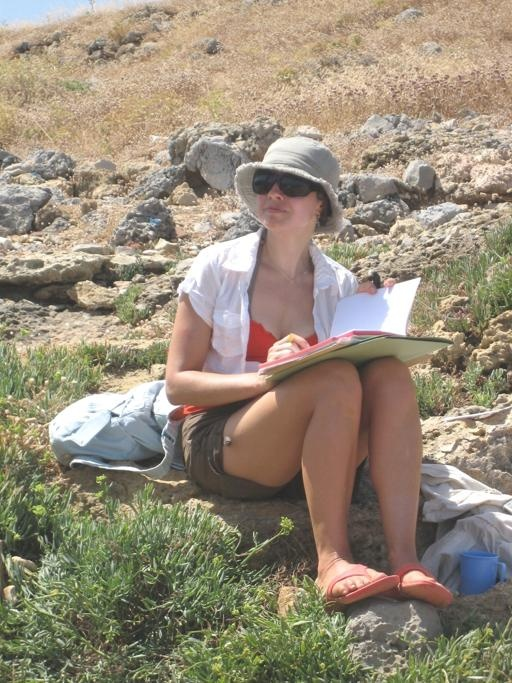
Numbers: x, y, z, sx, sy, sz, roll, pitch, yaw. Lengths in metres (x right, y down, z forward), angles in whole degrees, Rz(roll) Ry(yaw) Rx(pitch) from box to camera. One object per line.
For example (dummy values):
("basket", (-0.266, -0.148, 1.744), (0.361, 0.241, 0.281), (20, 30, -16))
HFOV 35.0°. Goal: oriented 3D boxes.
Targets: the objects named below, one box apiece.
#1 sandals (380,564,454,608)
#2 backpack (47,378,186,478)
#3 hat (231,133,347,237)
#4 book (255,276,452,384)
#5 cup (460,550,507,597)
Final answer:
("sandals", (0.500, 0.770, 2.534), (0.193, 0.160, 0.098), (-10, 13, -9))
("backpack", (-0.588, 0.370, 3.488), (0.593, 0.202, 0.372), (4, 41, -4))
("hat", (0.219, -0.709, 3.504), (0.546, 0.255, 0.420), (18, -9, -34))
("book", (0.375, -0.078, 2.943), (0.633, 0.213, 0.456), (1, -19, -45))
("cup", (0.797, 0.809, 2.870), (0.166, 0.143, 0.264), (-5, 11, 14))
